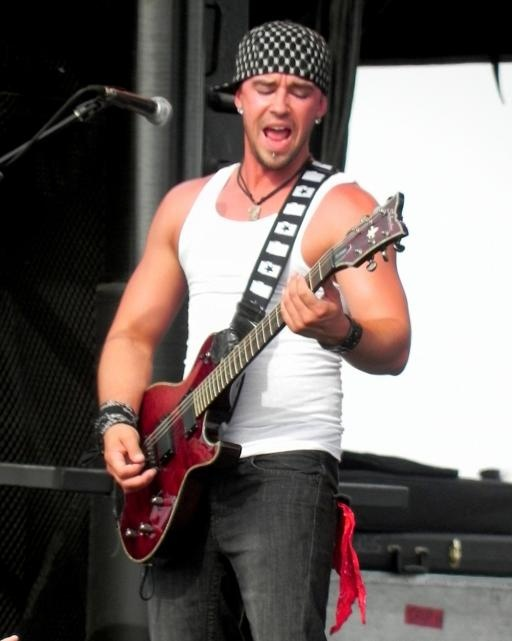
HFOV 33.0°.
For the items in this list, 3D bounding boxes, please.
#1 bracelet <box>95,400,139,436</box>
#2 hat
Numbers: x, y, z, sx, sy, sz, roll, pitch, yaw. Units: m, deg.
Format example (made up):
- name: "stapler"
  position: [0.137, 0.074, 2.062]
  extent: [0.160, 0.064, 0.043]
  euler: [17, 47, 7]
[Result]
- name: "bracelet"
  position: [-0.339, 0.241, 2.138]
  extent: [0.088, 0.074, 0.065]
  euler: [-25, 42, 2]
- name: "hat"
  position: [0.048, -0.645, 2.179]
  extent: [0.220, 0.124, 0.167]
  euler: [-4, 0, 18]
